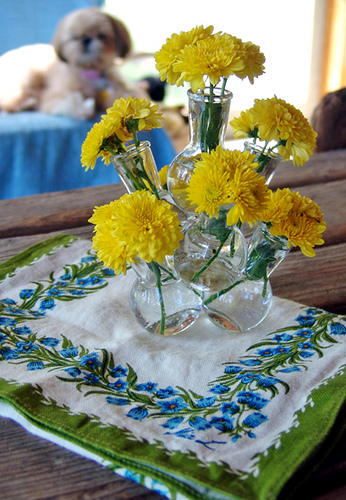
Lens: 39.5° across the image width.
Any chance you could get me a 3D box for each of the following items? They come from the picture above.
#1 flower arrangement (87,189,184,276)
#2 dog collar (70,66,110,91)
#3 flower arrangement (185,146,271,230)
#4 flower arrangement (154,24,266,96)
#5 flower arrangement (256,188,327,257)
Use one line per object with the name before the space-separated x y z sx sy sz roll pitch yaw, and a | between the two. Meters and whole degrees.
flower arrangement | -0.032 -0.016 0.363 0.072 0.027 0.070 28 20 -12
dog collar | -0.346 -0.700 1.971 0.134 0.032 0.037 12 26 -37
flower arrangement | 0.042 -0.049 0.359 0.060 0.055 0.041 7 22 13
flower arrangement | 0.033 -0.138 0.367 0.060 0.034 0.055 -1 3 -30
flower arrangement | 0.092 -0.015 0.423 0.062 0.027 0.061 32 34 -18
